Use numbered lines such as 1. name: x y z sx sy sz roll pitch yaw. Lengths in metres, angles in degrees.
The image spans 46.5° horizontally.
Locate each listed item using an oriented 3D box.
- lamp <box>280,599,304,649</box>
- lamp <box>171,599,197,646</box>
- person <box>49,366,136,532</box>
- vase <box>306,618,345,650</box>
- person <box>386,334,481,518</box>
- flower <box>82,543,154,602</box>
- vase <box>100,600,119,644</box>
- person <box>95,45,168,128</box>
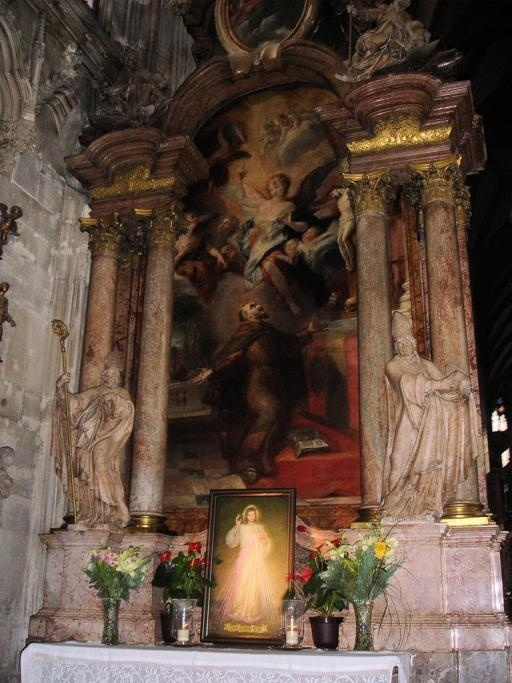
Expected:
1. lamp: 0.183 1.439 3.038 0.109 0.220 0.286 2 -19 4
2. lamp: -0.392 1.490 3.162 0.132 0.234 0.307 5 -19 -5
3. person: -1.499 0.924 5.544 0.821 1.525 0.546 9 -20 -15
4. vase: 0.367 1.556 3.207 0.192 0.166 0.181 -10 -24 24
5. person: 1.301 0.645 4.579 0.722 1.383 0.389 -3 -20 17
6. flower: -0.783 1.340 3.446 0.332 0.307 0.291 14 -2 -1
7. vase: -0.809 1.558 3.321 0.106 0.232 0.325 7 -19 -11
8. person: -1.473 -3.184 7.380 0.805 0.980 0.273 -7 -17 -1
